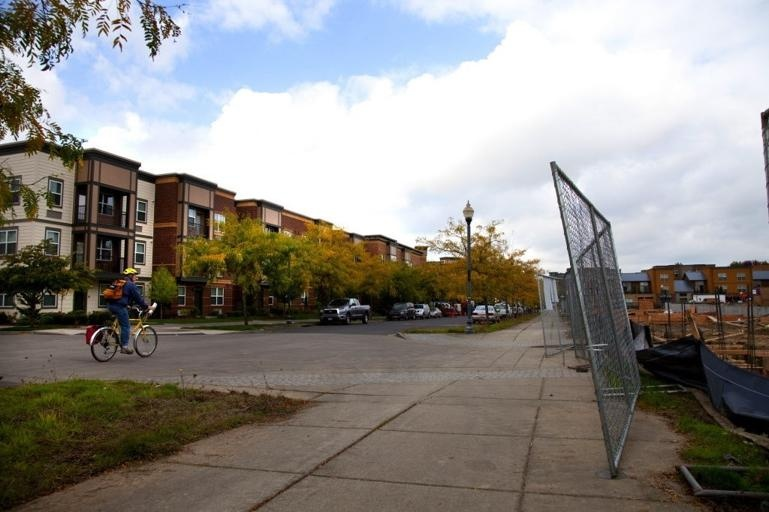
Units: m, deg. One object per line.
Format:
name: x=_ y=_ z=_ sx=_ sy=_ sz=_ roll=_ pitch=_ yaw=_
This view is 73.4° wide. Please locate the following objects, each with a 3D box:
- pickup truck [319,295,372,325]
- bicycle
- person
pickup truck: x=-2.956 y=4.077 z=38.742 sx=1.611 sy=1.949 sz=4.814 roll=-6 pitch=-9 yaw=29
bicycle: x=-7.015 y=2.047 z=14.010 sx=1.118 sy=1.481 sz=2.399 roll=3 pitch=-5 yaw=18
person: x=-6.959 y=1.464 z=13.892 sx=1.029 sy=2.271 sz=1.422 roll=1 pitch=-7 yaw=-26
